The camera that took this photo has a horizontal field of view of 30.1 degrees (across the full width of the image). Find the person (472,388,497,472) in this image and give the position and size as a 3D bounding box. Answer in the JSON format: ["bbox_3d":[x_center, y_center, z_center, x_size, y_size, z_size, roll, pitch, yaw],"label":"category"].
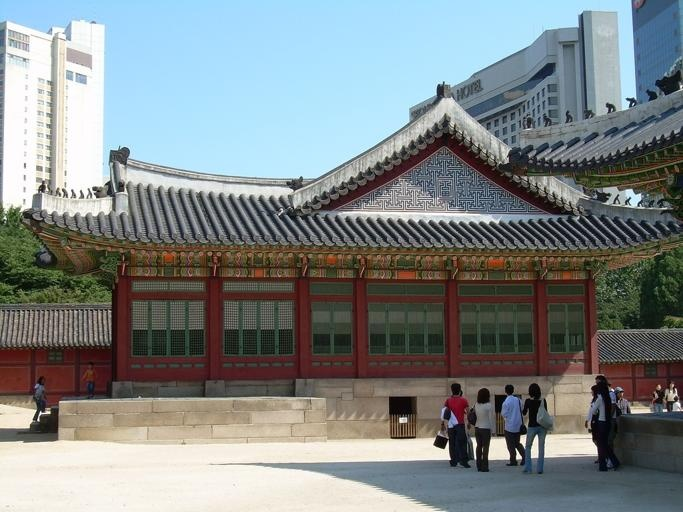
[{"bbox_3d":[4.957,6.018,44.163,0.687,2.614,0.842,7,-1,5],"label":"person"}]

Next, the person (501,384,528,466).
[{"bbox_3d":[6.015,5.940,44.475,0.755,2.731,0.975,2,-1,4],"label":"person"}]

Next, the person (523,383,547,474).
[{"bbox_3d":[6.757,5.943,44.096,0.947,3.132,0.815,-2,-8,31],"label":"person"}]

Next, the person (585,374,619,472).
[{"bbox_3d":[8.989,5.751,43.960,0.784,3.249,1.054,-7,-13,28],"label":"person"}]

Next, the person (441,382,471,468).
[{"bbox_3d":[4.054,5.948,44.863,0.994,2.798,0.938,0,-1,5],"label":"person"}]
